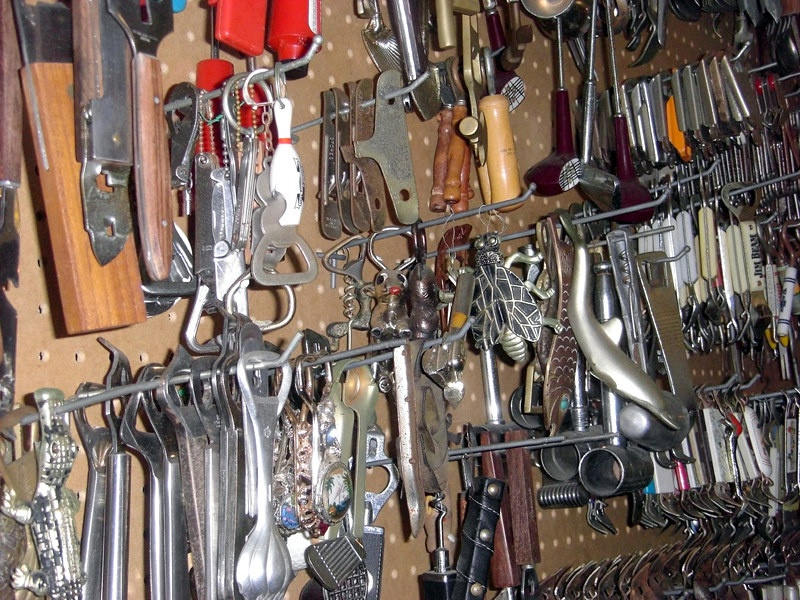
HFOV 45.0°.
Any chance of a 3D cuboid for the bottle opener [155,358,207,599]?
[{"bbox_3d":[-0.290,0.231,1.334,0.078,0.333,0.011,-9,-5,39],"label":"bottle opener"}]
